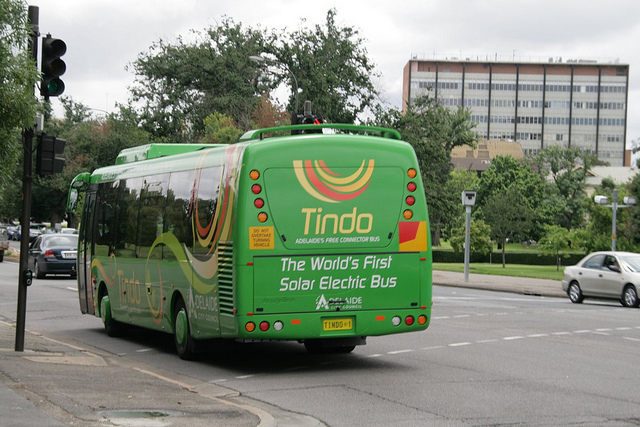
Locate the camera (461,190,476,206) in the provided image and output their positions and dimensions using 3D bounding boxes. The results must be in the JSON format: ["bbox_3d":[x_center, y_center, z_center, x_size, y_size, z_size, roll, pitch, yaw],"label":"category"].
[{"bbox_3d":[7.063,-0.765,35.040,0.448,0.618,0.868,1,0,1],"label":"camera"}]

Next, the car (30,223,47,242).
[{"bbox_3d":[-24.006,1.574,62.359,1.152,1.291,3.619,-1,7,-10],"label":"car"}]

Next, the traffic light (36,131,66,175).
[{"bbox_3d":[-5.006,-1.110,13.637,0.498,0.820,0.504,3,-1,-21],"label":"traffic light"}]

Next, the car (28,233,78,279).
[{"bbox_3d":[-12.573,1.992,34.476,2.278,2.018,5.731,4,-4,-35],"label":"car"}]

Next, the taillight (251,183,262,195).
[{"bbox_3d":[-1.067,-0.407,12.189,0.166,0.181,0.040,0,-1,-15],"label":"taillight"}]

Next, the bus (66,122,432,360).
[{"bbox_3d":[-2.770,0.572,15.466,10.501,4.108,2.997,2,-1,43],"label":"bus"}]
